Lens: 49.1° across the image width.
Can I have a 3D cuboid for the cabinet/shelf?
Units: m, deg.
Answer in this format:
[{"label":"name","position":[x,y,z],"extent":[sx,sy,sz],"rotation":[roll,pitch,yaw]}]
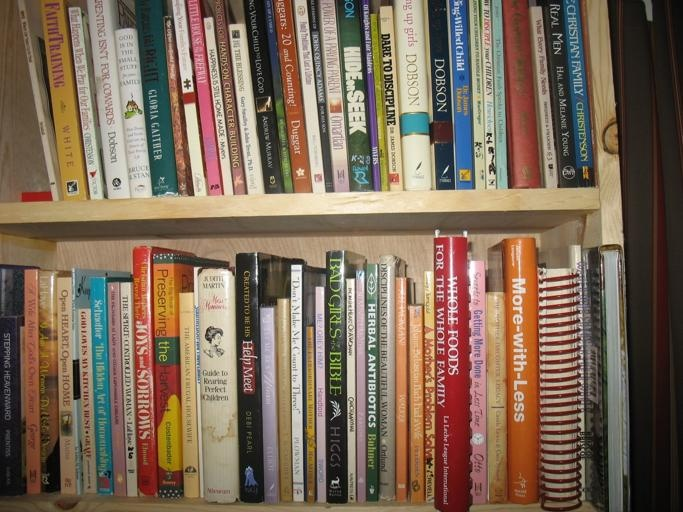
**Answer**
[{"label":"cabinet/shelf","position":[-0.001,0.011,1.541],"extent":[1.058,0.944,0.329],"rotation":[-3,4,8]}]
